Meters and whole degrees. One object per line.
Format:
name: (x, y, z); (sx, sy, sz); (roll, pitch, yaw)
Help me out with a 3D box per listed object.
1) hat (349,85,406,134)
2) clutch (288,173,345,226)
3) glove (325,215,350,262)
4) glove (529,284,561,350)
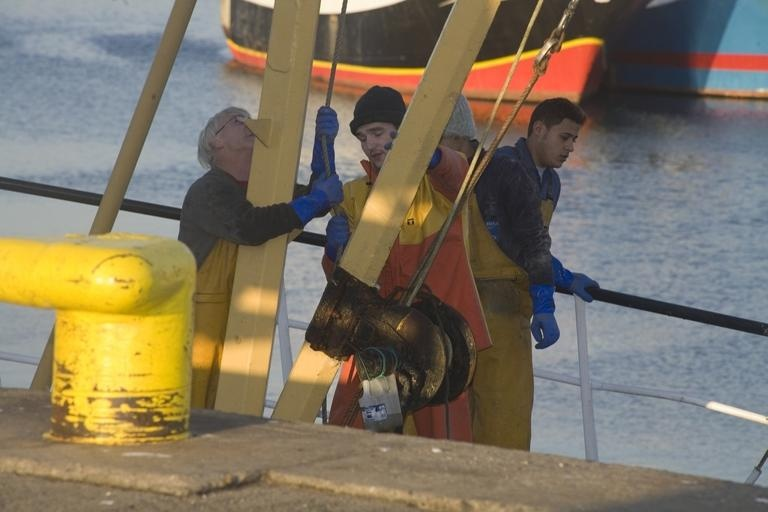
hat: (-0.053, -1.560, 21.685); (0.666, 0.533, 0.654); (-2, -3, -13)
clutch: (-0.696, -0.593, 21.339); (0.970, 0.675, 0.333); (0, -1, 30)
glove: (-0.483, -0.190, 21.411); (0.156, 0.432, 0.334); (12, 5, 9)
glove: (1.714, 0.633, 21.848); (0.279, 0.702, 0.323); (5, 0, -12)
